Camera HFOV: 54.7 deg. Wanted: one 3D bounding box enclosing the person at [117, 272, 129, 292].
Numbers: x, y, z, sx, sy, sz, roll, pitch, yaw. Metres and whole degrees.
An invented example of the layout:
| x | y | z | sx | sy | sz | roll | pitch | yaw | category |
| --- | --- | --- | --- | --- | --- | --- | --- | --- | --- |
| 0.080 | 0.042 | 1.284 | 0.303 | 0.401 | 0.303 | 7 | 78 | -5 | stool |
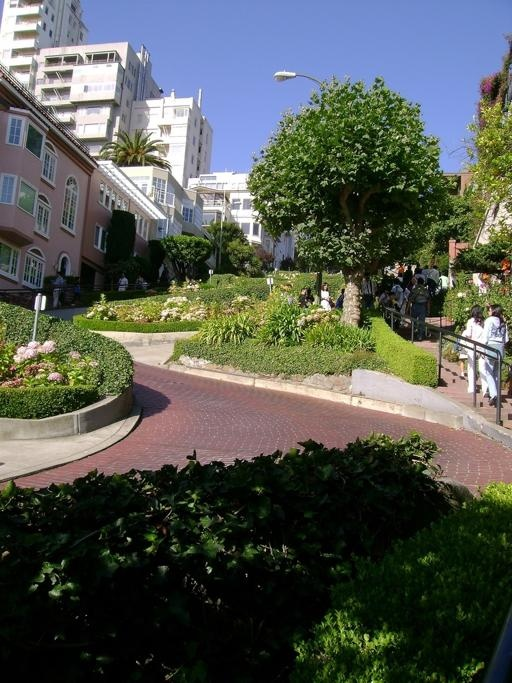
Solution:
| x | y | z | sx | sy | sz | roll | pitch | yaw | category |
| --- | --- | --- | --- | --- | --- | --- | --- | --- | --- |
| -9.834 | -4.446 | 36.709 | 0.704 | 1.335 | 2.111 | 6 | -1 | -15 | person |

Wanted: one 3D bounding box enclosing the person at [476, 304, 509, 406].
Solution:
| x | y | z | sx | sy | sz | roll | pitch | yaw | category |
| --- | --- | --- | --- | --- | --- | --- | --- | --- | --- |
| 4.960 | 0.257 | 10.414 | 0.518 | 1.484 | 1.528 | 5 | -2 | 25 | person |

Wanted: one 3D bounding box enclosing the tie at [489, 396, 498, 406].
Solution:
| x | y | z | sx | sy | sz | roll | pitch | yaw | category |
| --- | --- | --- | --- | --- | --- | --- | --- | --- | --- |
| 4.994 | 1.234 | 10.430 | 0.052 | 0.185 | 0.191 | 8 | -4 | -30 | tie |

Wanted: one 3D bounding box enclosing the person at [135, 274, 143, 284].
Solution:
| x | y | z | sx | sy | sz | roll | pitch | yaw | category |
| --- | --- | --- | --- | --- | --- | --- | --- | --- | --- |
| -9.439 | -5.031 | 40.302 | 0.525 | 0.628 | 1.854 | 6 | -1 | -13 | person |
